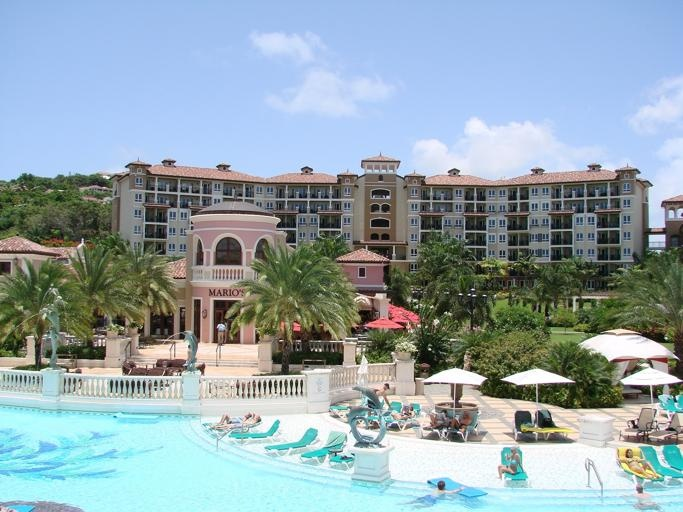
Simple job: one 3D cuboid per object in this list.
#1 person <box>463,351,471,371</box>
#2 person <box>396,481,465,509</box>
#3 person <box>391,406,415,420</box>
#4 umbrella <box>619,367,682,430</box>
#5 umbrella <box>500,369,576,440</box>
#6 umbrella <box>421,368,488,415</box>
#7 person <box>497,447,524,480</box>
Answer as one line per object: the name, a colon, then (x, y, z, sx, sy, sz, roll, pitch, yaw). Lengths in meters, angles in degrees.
person: (6.146, 5.110, 33.875, 0.360, 0.873, 1.018, 1, 5, 10)
person: (2.767, 7.151, 20.711, 1.670, 0.504, 0.698, -16, 12, -34)
person: (2.447, 6.167, 27.292, 0.575, 0.313, 0.717, 1, -3, 7)
umbrella: (11.920, 5.375, 26.180, 2.232, 1.539, 2.220, -6, -3, 7)
umbrella: (7.624, 5.584, 26.456, 2.678, 2.130, 2.641, 0, 2, 45)
umbrella: (4.327, 5.183, 26.250, 1.854, 1.169, 1.882, -5, -7, 22)
person: (5.343, 6.444, 21.787, 0.805, 0.996, 0.822, 2, 6, 12)
